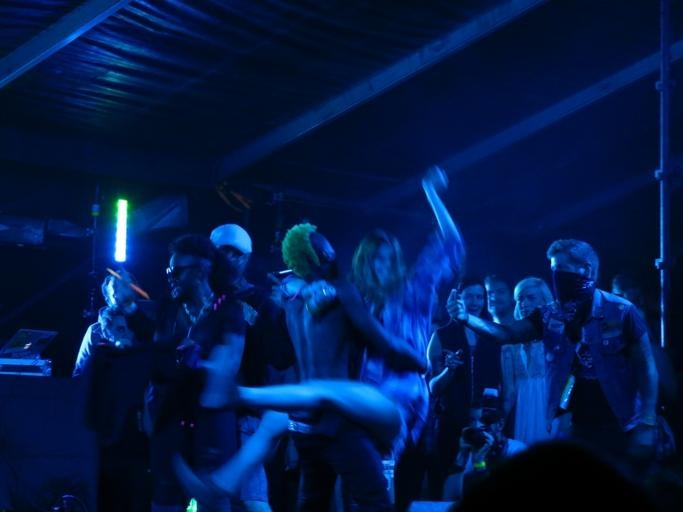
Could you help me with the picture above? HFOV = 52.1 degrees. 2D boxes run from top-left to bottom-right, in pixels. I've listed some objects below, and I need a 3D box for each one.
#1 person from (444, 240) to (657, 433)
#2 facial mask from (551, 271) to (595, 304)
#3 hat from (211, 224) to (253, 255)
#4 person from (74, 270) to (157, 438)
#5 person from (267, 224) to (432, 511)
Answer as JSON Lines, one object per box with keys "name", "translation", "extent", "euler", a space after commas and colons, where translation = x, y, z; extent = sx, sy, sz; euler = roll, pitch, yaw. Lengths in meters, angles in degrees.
{"name": "person", "translation": [1.740, 0.591, 5.196], "extent": [0.433, 1.366, 1.034], "euler": [7, -12, -37]}
{"name": "facial mask", "translation": [1.715, 0.242, 5.139], "extent": [0.252, 0.204, 0.210], "euler": [-2, -14, 11]}
{"name": "hat", "translation": [-0.896, -0.144, 5.801], "extent": [0.299, 0.242, 0.224], "euler": [18, -4, 22]}
{"name": "person", "translation": [-1.965, 0.786, 5.987], "extent": [0.622, 1.445, 0.918], "euler": [9, -29, -16]}
{"name": "person", "translation": [0.007, 0.709, 4.521], "extent": [0.884, 1.866, 0.550], "euler": [-1, -9, 6]}
